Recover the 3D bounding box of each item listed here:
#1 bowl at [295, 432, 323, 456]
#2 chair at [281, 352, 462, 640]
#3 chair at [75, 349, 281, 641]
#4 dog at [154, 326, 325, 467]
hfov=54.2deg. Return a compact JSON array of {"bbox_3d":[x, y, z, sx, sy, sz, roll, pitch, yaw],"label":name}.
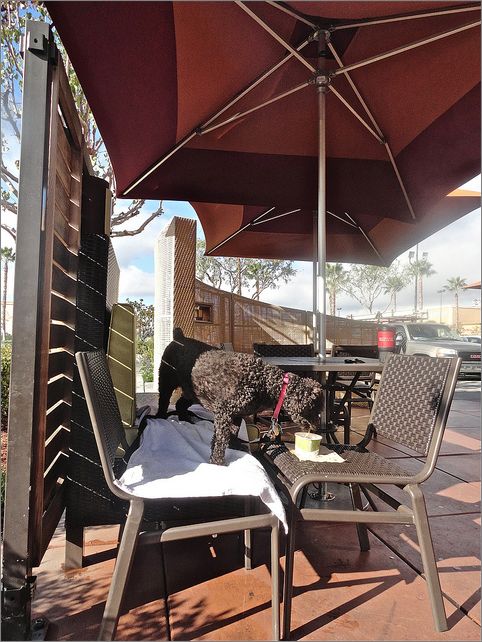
[{"bbox_3d":[0.275,0.509,1.929,0.080,0.056,0.086,2,-15,1],"label":"bowl"},{"bbox_3d":[0.562,0.679,2.314,0.849,1.379,0.911,3,-6,-5],"label":"chair"},{"bbox_3d":[-0.157,0.603,2.249,0.894,1.480,0.805,0,-1,-8],"label":"chair"},{"bbox_3d":[-0.044,0.357,2.030,0.766,0.500,0.240,14,11,21],"label":"dog"}]
